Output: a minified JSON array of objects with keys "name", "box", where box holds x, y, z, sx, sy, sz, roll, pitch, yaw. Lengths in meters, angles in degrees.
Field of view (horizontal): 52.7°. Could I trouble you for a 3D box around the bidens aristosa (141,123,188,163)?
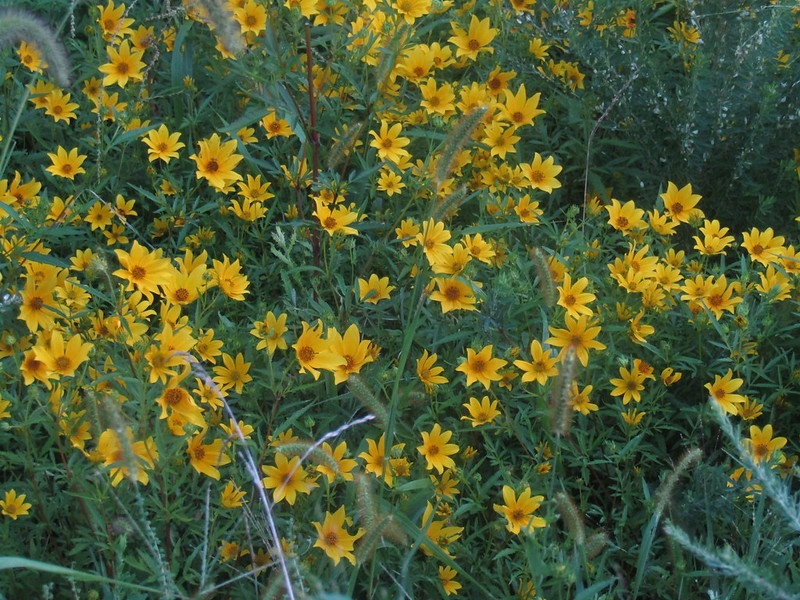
[{"name":"bidens aristosa","box":[-1.145,-0.774,3.931,0.210,0.105,0.228,-7,10,28]}]
